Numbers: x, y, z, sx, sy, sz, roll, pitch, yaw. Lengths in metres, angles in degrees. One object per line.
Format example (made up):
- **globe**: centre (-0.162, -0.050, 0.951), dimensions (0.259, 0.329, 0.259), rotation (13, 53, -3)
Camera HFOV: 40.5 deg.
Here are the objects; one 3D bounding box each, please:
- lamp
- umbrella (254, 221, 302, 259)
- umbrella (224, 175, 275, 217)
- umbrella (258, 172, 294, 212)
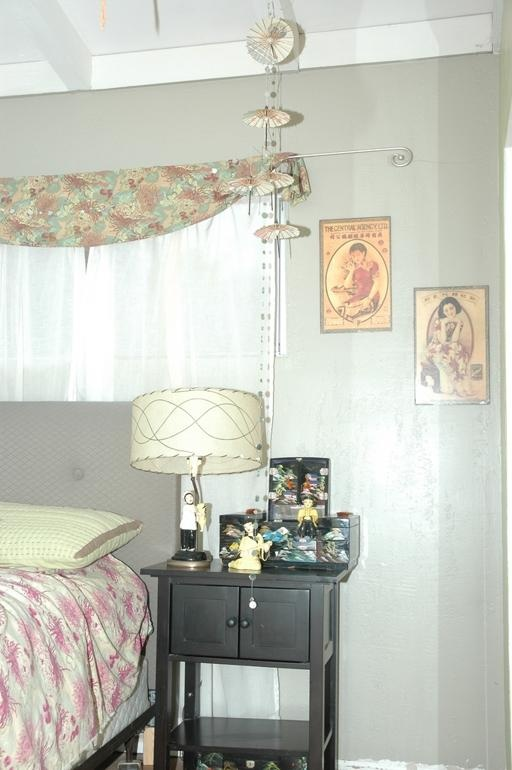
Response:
- **lamp**: centre (-0.227, 0.301, 2.351), dimensions (0.498, 0.571, 0.502), rotation (-2, -4, 27)
- **umbrella**: centre (0.088, -0.591, 2.634), dimensions (0.188, 0.100, 0.311), rotation (0, -4, 1)
- **umbrella**: centre (-0.022, -0.710, 2.498), dimensions (0.121, 0.135, 0.125), rotation (0, -9, 1)
- **umbrella**: centre (0.061, -0.709, 2.459), dimensions (0.140, 0.157, 0.151), rotation (-3, -3, -5)
